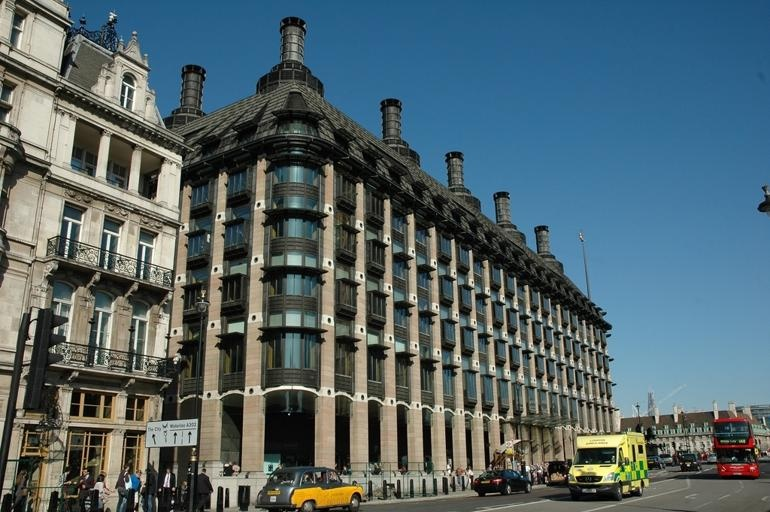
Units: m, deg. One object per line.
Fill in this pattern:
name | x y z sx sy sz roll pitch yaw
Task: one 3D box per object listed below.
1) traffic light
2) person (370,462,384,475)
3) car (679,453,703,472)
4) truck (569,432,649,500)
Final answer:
traffic light | -12.528 3.691 25.155 0.902 3.705 1.112 9 -27 -26
person | -0.683 17.715 57.138 0.832 0.794 1.447 4 -7 -2
car | 36.703 24.698 82.163 1.719 1.546 2.928 -7 -17 25
truck | 14.706 13.617 44.670 2.739 4.406 6.777 -24 -31 38
